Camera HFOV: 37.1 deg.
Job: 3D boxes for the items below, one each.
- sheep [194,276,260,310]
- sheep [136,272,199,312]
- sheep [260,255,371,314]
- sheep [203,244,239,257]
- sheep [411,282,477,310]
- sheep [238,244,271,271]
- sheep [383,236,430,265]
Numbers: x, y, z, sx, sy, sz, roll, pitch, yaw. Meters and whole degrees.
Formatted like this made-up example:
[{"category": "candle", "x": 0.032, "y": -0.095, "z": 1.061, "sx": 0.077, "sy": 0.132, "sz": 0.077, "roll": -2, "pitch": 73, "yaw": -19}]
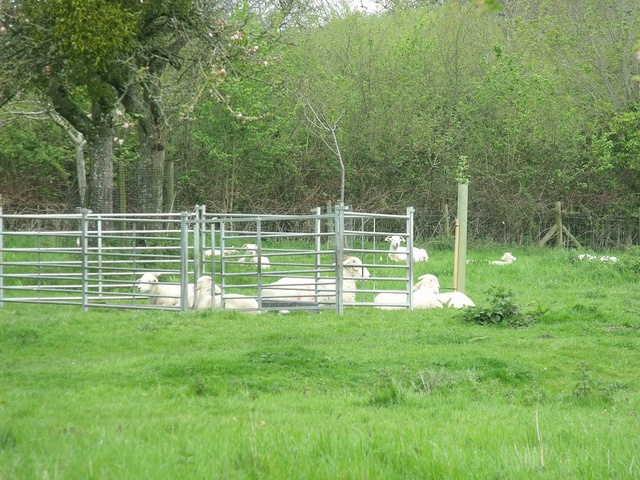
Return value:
[{"category": "sheep", "x": -2.393, "y": 1.377, "z": 23.825, "sx": 1.493, "sy": 0.905, "sz": 1.217, "roll": 0, "pitch": -2, "yaw": -5}, {"category": "sheep", "x": -3.916, "y": 1.272, "z": 23.974, "sx": 1.380, "sy": 0.872, "sz": 1.389, "roll": 1, "pitch": -2, "yaw": -11}, {"category": "sheep", "x": -0.212, "y": 1.170, "z": 24.347, "sx": 3.155, "sy": 1.961, "sz": 1.143, "roll": -4, "pitch": 5, "yaw": -12}, {"category": "sheep", "x": -2.742, "y": 0.318, "z": 25.917, "sx": 0.838, "sy": 0.259, "sz": 0.278, "roll": -3, "pitch": 19, "yaw": 18}, {"category": "sheep", "x": 3.073, "y": 1.533, "z": 24.390, "sx": 1.687, "sy": 0.584, "sz": 0.941, "roll": 11, "pitch": 12, "yaw": 20}, {"category": "sheep", "x": -1.960, "y": 0.509, "z": 28.092, "sx": 0.862, "sy": 1.135, "sz": 0.448, "roll": 0, "pitch": -9, "yaw": -1}, {"category": "sheep", "x": 2.812, "y": 0.387, "z": 31.637, "sx": 2.061, "sy": 1.140, "sz": 0.706, "roll": 13, "pitch": -10, "yaw": -41}]
